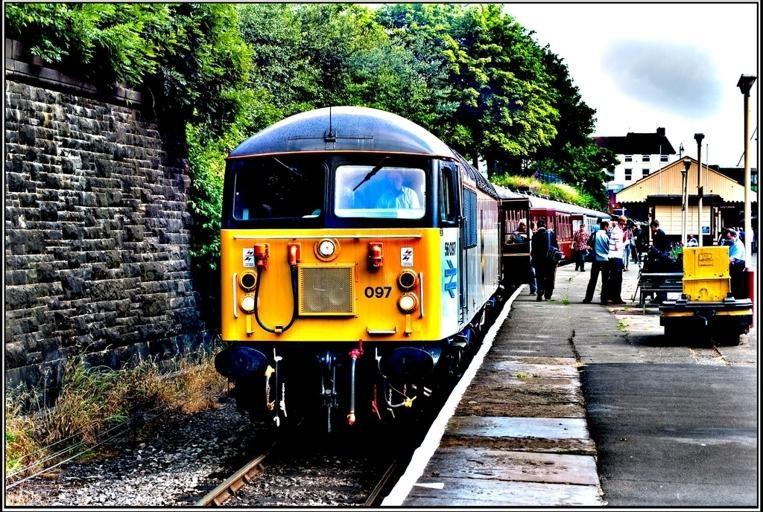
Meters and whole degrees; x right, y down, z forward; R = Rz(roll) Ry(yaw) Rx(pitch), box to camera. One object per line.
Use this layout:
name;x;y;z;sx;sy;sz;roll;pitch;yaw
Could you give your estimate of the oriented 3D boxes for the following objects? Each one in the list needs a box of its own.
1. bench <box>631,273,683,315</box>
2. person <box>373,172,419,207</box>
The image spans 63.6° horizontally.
bench;8.118;1.057;18.146;1.171;1.176;3.272;0;1;22
person;0.080;-0.893;8.252;0.716;0.532;0.378;-7;11;-41
